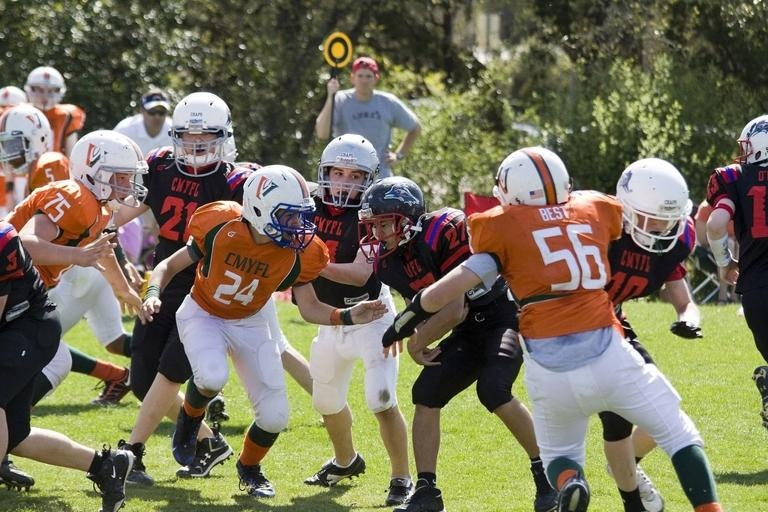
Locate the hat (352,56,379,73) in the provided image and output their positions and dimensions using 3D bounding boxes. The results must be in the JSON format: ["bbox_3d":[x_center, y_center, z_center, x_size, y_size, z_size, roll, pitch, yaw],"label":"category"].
[{"bbox_3d":[-0.204,-2.050,9.577,0.249,0.168,0.192,2,-1,-11],"label":"hat"}]

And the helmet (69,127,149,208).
[{"bbox_3d":[-1.992,-0.656,6.697,0.574,0.485,0.449,9,14,-6],"label":"helmet"}]

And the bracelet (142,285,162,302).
[{"bbox_3d":[-1.628,0.266,6.275,0.108,0.109,0.094,10,-12,30],"label":"bracelet"}]

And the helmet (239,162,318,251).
[{"bbox_3d":[-0.684,-0.362,6.219,0.577,0.520,0.437,22,20,22],"label":"helmet"}]

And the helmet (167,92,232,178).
[{"bbox_3d":[-1.399,-0.929,6.799,0.446,0.530,0.630,-1,11,3],"label":"helmet"}]

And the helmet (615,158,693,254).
[{"bbox_3d":[1.755,-0.373,6.003,0.463,0.527,0.593,-5,41,-15],"label":"helmet"}]

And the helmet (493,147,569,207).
[{"bbox_3d":[0.916,-0.507,5.656,0.318,0.365,0.427,-3,18,-13],"label":"helmet"}]

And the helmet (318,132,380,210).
[{"bbox_3d":[-0.270,-0.646,6.969,0.418,0.505,0.545,4,0,7],"label":"helmet"}]

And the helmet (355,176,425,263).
[{"bbox_3d":[0.022,-0.261,6.341,0.541,0.537,0.419,-18,-1,-38],"label":"helmet"}]

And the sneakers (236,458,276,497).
[{"bbox_3d":[-0.940,1.599,6.408,0.149,0.182,0.366,-12,30,-38],"label":"sneakers"}]

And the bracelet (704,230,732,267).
[{"bbox_3d":[2.845,-0.069,7.581,0.178,0.295,0.198,-22,25,25],"label":"bracelet"}]

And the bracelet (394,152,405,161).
[{"bbox_3d":[0.162,-1.094,9.849,0.108,0.028,0.107,29,54,29],"label":"bracelet"}]

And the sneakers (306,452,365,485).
[{"bbox_3d":[-0.351,1.619,6.717,0.481,0.228,0.181,-14,11,-7],"label":"sneakers"}]
